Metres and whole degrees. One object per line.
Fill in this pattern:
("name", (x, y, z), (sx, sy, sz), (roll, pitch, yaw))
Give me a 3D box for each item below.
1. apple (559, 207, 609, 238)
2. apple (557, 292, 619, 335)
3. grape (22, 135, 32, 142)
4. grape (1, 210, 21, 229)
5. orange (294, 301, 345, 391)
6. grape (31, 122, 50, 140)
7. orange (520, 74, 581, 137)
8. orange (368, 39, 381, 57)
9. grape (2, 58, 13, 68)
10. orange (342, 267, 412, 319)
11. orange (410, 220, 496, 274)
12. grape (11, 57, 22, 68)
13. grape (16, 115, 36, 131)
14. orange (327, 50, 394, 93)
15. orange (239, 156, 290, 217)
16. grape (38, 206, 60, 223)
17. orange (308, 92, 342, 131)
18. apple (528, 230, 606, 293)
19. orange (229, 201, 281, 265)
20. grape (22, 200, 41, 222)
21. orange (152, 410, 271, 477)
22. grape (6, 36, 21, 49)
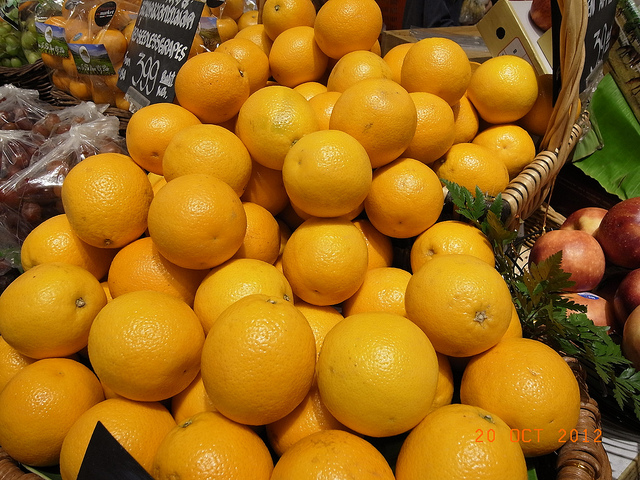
("apple", (1.146, -0.085, 2.117), (0.161, 0.147, 0.167), (-10, 85, -50))
("apple", (0.913, 0.254, 1.652), (0.160, 0.133, 0.095), (27, 97, 11))
("grape", (-1.532, -0.537, 2.539), (0.033, 0.038, 0.034), (16, 22, 31))
("grape", (-1.426, -0.100, 2.243), (0.069, 0.079, 0.039), (19, 17, -1))
("orange", (0.006, 0.319, 1.508), (0.179, 0.195, 0.250), (-2, 95, 5))
("grape", (-1.484, -0.588, 2.582), (0.058, 0.080, 0.101), (-54, 48, 9))
("orange", (0.891, -0.528, 1.870), (0.170, 0.218, 0.183), (-7, 36, 45))
("orange", (0.247, -0.841, 2.147), (0.055, 0.077, 0.047), (-4, 87, 1))
("grape", (-2.141, -1.204, 3.308), (0.068, 0.049, 0.063), (-13, 60, -12))
("orange", (0.185, 0.162, 1.546), (0.155, 0.209, 0.177), (-5, 46, -4))
("orange", (0.454, 0.047, 1.646), (0.207, 0.188, 0.196), (53, 34, -1))
("grape", (-2.081, -1.220, 3.324), (0.059, 0.055, 0.041), (-22, 61, -17))
("grape", (-1.613, -0.643, 2.657), (0.062, 0.091, 0.054), (6, 44, 11))
("orange", (0.154, -0.681, 1.900), (0.185, 0.241, 0.186), (17, 29, 36))
("orange", (-0.231, -0.223, 1.813), (0.165, 0.175, 0.213), (-21, 73, -3))
("grape", (-1.255, -0.128, 2.269), (0.077, 0.053, 0.073), (-22, 14, 21))
("orange", (0.044, -0.488, 1.820), (0.122, 0.158, 0.124), (-1, 16, -34))
("apple", (1.034, 0.089, 2.041), (0.289, 0.319, 0.259), (-4, 95, 20))
("orange", (-0.201, -0.007, 1.641), (0.174, 0.175, 0.233), (1, 80, -19))
("grape", (-1.322, -0.137, 2.243), (0.077, 0.044, 0.084), (-29, 103, -8))
("orange", (-0.280, 0.557, 1.289), (0.197, 0.199, 0.208), (13, 72, 42))
("grape", (-2.046, -1.322, 3.235), (0.045, 0.067, 0.050), (-15, 26, 27))
